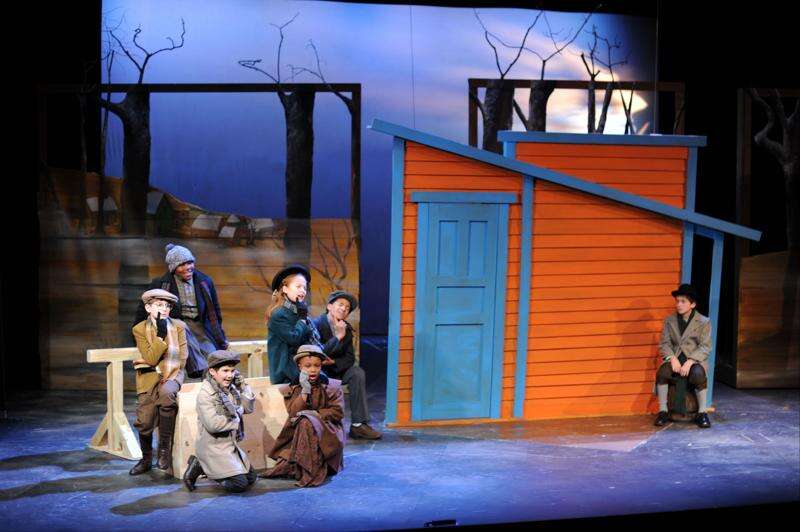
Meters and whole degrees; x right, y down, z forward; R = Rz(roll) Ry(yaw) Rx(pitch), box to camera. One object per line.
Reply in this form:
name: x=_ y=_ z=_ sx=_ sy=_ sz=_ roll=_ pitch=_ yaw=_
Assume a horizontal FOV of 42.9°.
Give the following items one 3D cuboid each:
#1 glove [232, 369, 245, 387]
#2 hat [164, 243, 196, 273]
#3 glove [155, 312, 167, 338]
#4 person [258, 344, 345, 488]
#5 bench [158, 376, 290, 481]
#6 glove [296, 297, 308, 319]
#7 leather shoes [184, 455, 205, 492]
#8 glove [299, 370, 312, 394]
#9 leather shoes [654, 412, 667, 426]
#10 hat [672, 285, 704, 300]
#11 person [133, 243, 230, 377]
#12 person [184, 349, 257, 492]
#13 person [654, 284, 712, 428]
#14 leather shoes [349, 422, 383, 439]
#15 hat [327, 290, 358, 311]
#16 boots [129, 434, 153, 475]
glove: x=-1.723 y=1.225 z=10.927 sx=0.130 sy=0.145 sz=0.164 roll=1 pitch=-18 yaw=-4
hat: x=-2.563 y=-0.109 z=11.822 sx=0.402 sy=0.337 sz=0.292 roll=0 pitch=5 yaw=15
glove: x=-2.645 y=0.679 z=11.277 sx=0.156 sy=0.204 sz=0.072 roll=0 pitch=21 yaw=-7
person: x=-1.019 y=1.610 z=11.023 sx=0.807 sy=1.474 sz=0.468 roll=0 pitch=4 yaw=-8
bench: x=-2.045 y=1.653 z=11.543 sx=1.833 sy=1.315 sz=0.917 roll=0 pitch=1 yaw=-25
glove: x=-1.099 y=0.492 z=11.715 sx=0.141 sy=0.196 sz=0.220 roll=0 pitch=1 yaw=-17
leather shoes: x=-2.196 y=2.208 z=10.792 sx=0.152 sy=0.434 sz=0.199 roll=6 pitch=1 yaw=13
glove: x=-1.036 y=1.276 z=11.077 sx=0.162 sy=0.213 sz=0.066 roll=-1 pitch=9 yaw=10
leather shoes: x=3.207 y=1.887 z=12.552 sx=0.169 sy=0.147 sz=0.247 roll=1 pitch=3 yaw=17
hat: x=3.514 y=0.336 z=12.588 sx=0.306 sy=0.201 sz=0.174 roll=1 pitch=4 yaw=19
person: x=-2.534 y=0.570 z=11.953 sx=0.951 sy=1.512 sz=0.891 roll=-1 pitch=9 yaw=35
person: x=-1.914 y=1.647 z=10.782 sx=0.752 sy=1.481 sz=0.338 roll=0 pitch=4 yaw=-9
person: x=3.488 y=1.112 z=12.572 sx=0.663 sy=1.738 sz=0.479 roll=1 pitch=4 yaw=12
leather shoes: x=-0.415 y=1.969 z=12.081 sx=0.402 sy=0.179 sz=0.155 roll=0 pitch=-2 yaw=8
hat: x=-0.697 y=0.420 z=12.035 sx=0.326 sy=0.237 sz=0.416 roll=0 pitch=3 yaw=-5
boots: x=-2.860 y=2.058 z=11.243 sx=0.256 sy=0.454 sz=0.347 roll=-1 pitch=4 yaw=-15
